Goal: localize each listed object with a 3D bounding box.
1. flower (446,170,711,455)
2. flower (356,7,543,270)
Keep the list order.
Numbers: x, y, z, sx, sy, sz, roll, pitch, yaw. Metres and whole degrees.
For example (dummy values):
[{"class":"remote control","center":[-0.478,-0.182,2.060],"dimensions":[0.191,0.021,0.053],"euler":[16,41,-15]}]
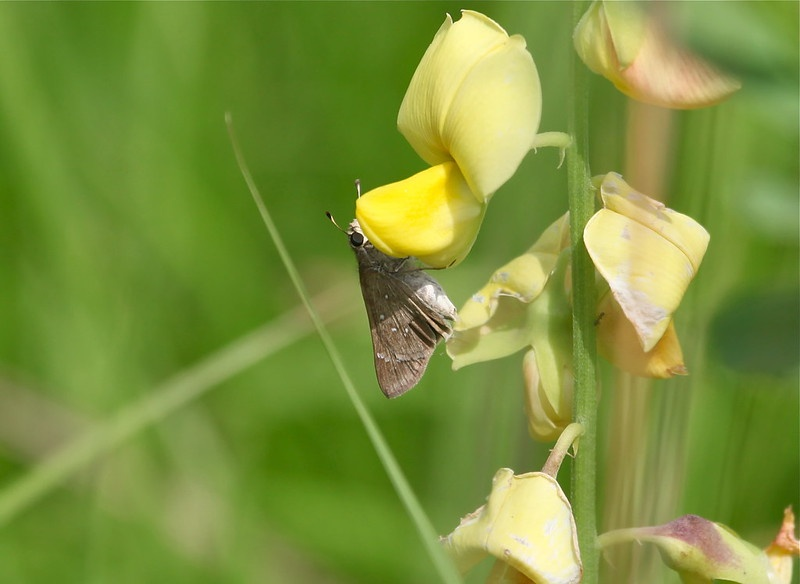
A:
[{"class":"flower","center":[0.369,0.005,1.633],"dimensions":[0.541,0.416,0.571],"euler":[-27,17,-39]},{"class":"flower","center":[0.090,-0.270,1.428],"dimensions":[0.333,0.433,0.198],"euler":[0,26,13]}]
